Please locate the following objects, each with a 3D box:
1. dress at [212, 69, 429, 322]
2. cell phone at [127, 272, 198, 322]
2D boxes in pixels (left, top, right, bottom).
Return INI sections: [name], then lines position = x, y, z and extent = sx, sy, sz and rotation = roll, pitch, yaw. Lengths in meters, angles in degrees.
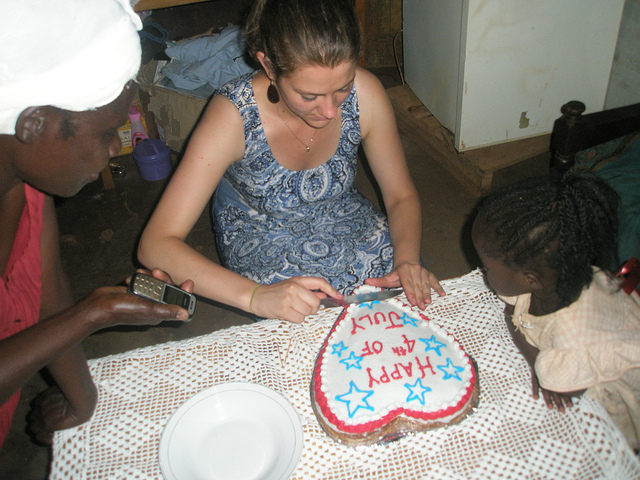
[dress]
position = -0.088, -0.223, 2.407
extent = 0.833, 1.372, 1.205
rotation = -2, 84, -15
[cell phone]
position = -0.560, 0.190, 1.949
extent = 0.046, 0.265, 0.126
rotation = -36, 32, 42
